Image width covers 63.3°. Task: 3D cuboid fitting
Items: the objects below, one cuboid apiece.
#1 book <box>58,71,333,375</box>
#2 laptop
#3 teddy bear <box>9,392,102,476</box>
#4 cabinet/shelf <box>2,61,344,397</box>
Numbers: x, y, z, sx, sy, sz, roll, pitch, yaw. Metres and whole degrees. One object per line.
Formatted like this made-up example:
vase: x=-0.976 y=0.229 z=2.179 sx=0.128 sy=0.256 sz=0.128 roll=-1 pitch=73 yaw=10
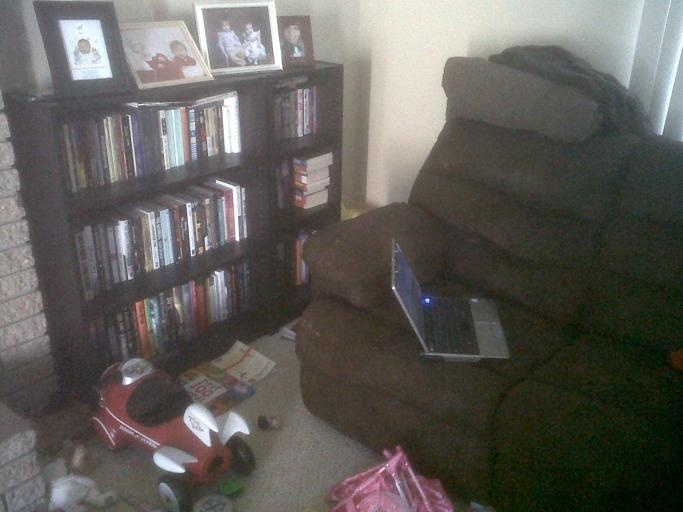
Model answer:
book: x=-0.532 y=-0.116 z=1.930 sx=0.252 sy=0.829 sz=0.945 roll=22 pitch=35 yaw=33
laptop: x=0.277 y=0.145 z=1.446 sx=0.311 sy=0.206 sz=0.304 roll=-6 pitch=41 yaw=8
teddy bear: x=-0.909 y=0.552 z=1.763 sx=0.246 sy=0.057 sz=0.219 roll=17 pitch=29 yaw=15
cabinet/shelf: x=-0.594 y=-0.086 z=1.867 sx=0.249 sy=0.886 sz=1.051 roll=23 pitch=36 yaw=33
